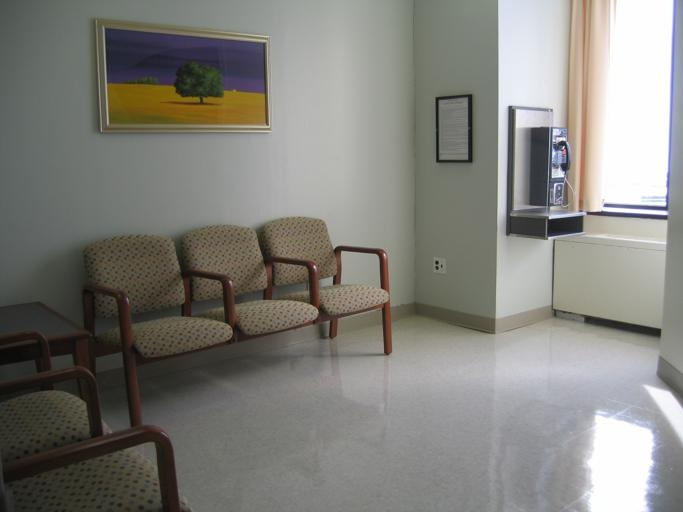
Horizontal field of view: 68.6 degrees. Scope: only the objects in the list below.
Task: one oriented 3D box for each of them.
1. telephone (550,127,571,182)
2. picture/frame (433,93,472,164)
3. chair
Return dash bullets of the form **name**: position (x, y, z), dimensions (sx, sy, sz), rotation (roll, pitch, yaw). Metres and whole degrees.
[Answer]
- **telephone**: position (1.857, -0.869, 4.261), dimensions (0.252, 0.435, 0.104), rotation (-8, 13, -32)
- **picture/frame**: position (1.002, -1.118, 4.429), dimensions (0.091, 0.574, 0.399), rotation (-9, 13, -35)
- **chair**: position (-0.729, 0.343, 3.533), dimensions (1.956, 1.068, 0.801), rotation (-9, 13, -33)
